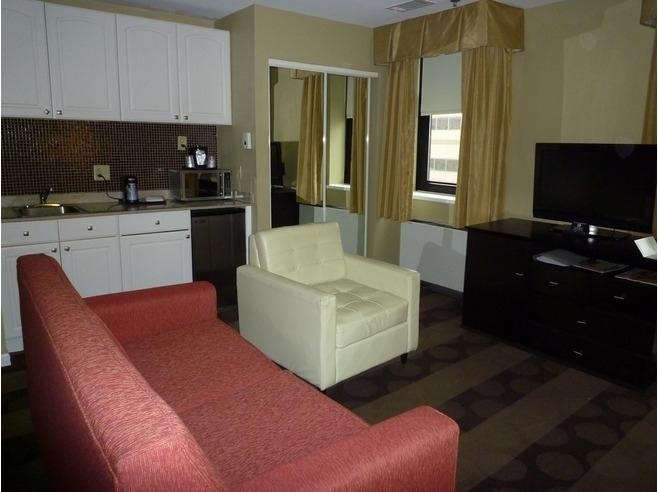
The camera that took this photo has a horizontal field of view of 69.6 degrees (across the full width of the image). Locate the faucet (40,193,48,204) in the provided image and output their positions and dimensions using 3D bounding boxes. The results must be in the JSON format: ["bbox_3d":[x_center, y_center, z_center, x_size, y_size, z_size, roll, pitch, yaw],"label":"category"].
[{"bbox_3d":[-2.538,-0.431,4.228,0.062,0.105,0.106,-8,15,-31],"label":"faucet"}]

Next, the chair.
[{"bbox_3d":[0.009,0.368,3.541,1.188,0.999,1.287,7,12,28],"label":"chair"}]

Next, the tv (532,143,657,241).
[{"bbox_3d":[2.001,-0.413,3.530,0.712,0.550,0.218,8,10,43],"label":"tv"}]

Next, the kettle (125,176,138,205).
[{"bbox_3d":[-1.845,-0.529,4.452,0.129,0.247,0.192,-8,15,-31],"label":"kettle"}]

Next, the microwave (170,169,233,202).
[{"bbox_3d":[-1.160,-0.674,4.829,0.470,0.309,0.353,-1,30,14],"label":"microwave"}]

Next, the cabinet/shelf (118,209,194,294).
[{"bbox_3d":[-1.551,-0.028,4.578,0.674,1.032,0.628,-6,10,-40],"label":"cabinet/shelf"}]
